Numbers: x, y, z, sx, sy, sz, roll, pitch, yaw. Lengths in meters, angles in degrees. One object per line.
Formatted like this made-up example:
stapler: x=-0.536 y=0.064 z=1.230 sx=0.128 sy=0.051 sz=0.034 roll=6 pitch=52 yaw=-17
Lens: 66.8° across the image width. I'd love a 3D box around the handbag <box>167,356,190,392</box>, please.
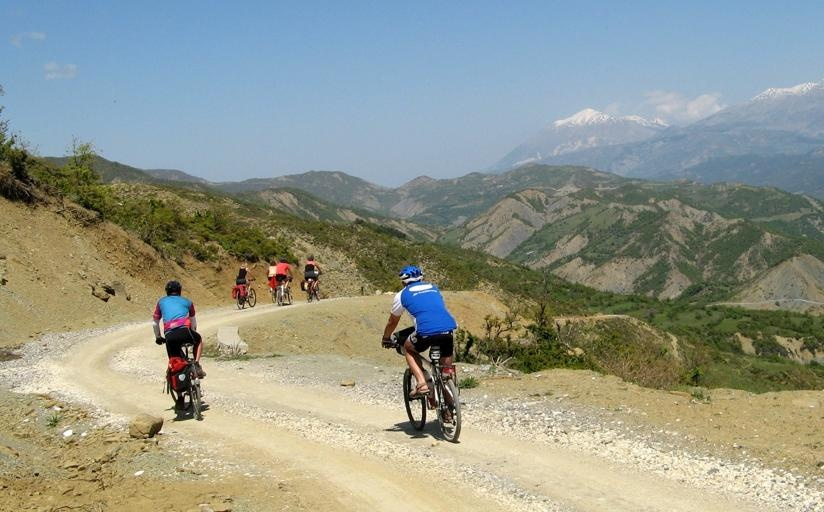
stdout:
handbag: x=-8.193 y=4.072 z=21.509 sx=0.787 sy=1.149 sz=0.389 roll=-1 pitch=0 yaw=13
